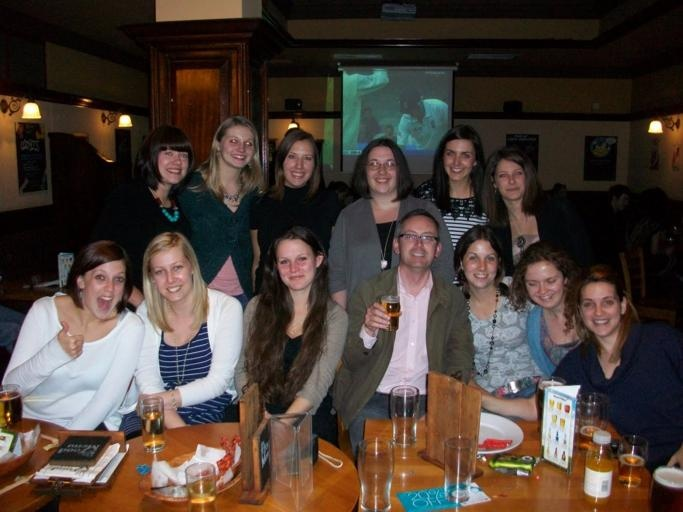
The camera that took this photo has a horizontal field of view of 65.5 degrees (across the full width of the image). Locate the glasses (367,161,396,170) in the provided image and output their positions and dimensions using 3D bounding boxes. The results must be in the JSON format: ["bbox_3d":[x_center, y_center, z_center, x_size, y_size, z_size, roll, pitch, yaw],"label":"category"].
[{"bbox_3d":[0.284,-0.640,3.741,0.193,0.066,0.050,1,7,2],"label":"glasses"}]

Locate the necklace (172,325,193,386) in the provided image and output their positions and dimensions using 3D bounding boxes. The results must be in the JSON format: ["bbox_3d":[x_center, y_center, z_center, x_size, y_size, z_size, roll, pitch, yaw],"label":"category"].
[{"bbox_3d":[-0.918,0.613,3.051,0.071,0.250,0.027,6,-6,-5],"label":"necklace"}]

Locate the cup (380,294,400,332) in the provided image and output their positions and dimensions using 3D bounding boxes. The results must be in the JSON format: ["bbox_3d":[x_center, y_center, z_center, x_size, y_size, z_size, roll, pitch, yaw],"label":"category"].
[{"bbox_3d":[0.272,0.312,2.908,0.097,0.203,0.154,3,8,18],"label":"cup"}]

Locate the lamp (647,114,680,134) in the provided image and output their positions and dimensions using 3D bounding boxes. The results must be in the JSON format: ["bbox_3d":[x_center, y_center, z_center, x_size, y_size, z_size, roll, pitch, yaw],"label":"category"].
[{"bbox_3d":[5.663,-2.303,9.342,0.405,0.322,0.249,11,15,28],"label":"lamp"}]

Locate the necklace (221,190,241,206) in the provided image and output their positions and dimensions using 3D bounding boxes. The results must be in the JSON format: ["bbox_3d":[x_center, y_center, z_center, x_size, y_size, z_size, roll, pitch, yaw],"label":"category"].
[{"bbox_3d":[-0.815,-0.428,3.969,0.094,0.027,0.100,9,30,17],"label":"necklace"}]

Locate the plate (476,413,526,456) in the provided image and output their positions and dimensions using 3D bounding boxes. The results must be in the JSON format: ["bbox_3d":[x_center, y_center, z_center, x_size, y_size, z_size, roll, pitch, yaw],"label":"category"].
[{"bbox_3d":[0.704,0.811,2.423,0.183,0.021,0.181,-7,12,-19],"label":"plate"}]

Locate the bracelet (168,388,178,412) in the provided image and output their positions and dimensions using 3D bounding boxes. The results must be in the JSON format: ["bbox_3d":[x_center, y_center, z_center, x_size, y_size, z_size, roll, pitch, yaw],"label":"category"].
[{"bbox_3d":[-0.900,0.771,2.862,0.078,0.083,0.081,-9,16,-10],"label":"bracelet"}]

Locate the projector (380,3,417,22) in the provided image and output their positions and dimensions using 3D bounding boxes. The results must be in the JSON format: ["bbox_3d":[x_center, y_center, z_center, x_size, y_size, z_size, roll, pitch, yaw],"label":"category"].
[{"bbox_3d":[0.837,-3.546,7.725,0.517,0.099,0.472,2,7,6],"label":"projector"}]

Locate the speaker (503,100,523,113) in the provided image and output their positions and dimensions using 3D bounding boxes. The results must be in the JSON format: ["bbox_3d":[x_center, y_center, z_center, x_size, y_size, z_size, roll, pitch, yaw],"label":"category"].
[{"bbox_3d":[3.419,-2.946,10.501,0.466,0.283,0.232,-4,9,-37],"label":"speaker"}]

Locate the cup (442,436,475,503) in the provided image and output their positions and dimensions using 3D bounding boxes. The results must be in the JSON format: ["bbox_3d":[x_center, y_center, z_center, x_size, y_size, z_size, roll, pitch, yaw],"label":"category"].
[{"bbox_3d":[0.462,0.848,2.100,0.105,0.248,0.073,-2,8,-23],"label":"cup"}]

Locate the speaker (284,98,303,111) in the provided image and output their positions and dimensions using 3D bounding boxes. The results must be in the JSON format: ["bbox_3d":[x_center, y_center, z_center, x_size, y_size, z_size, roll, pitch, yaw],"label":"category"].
[{"bbox_3d":[-0.937,-2.939,10.410,0.260,0.272,0.197,-17,-4,9],"label":"speaker"}]

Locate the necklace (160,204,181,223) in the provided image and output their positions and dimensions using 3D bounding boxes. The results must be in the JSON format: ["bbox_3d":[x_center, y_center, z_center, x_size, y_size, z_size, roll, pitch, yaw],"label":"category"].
[{"bbox_3d":[-1.207,-0.300,3.765,0.039,0.110,0.110,-34,-11,37],"label":"necklace"}]

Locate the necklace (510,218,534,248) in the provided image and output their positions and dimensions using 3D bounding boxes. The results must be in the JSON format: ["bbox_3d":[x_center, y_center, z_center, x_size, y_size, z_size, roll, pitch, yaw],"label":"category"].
[{"bbox_3d":[1.333,-0.154,3.894,0.150,0.222,0.065,-11,-26,31],"label":"necklace"}]

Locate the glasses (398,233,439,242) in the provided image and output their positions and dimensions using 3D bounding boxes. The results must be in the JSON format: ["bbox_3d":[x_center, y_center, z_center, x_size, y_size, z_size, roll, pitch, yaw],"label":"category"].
[{"bbox_3d":[0.456,-0.114,3.188,0.237,0.061,0.074,2,7,9],"label":"glasses"}]

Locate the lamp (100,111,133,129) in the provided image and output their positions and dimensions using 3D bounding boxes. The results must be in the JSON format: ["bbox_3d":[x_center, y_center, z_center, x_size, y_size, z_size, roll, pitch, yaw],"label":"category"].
[{"bbox_3d":[-3.862,-2.359,9.216,0.370,0.271,0.225,-2,8,4],"label":"lamp"}]
